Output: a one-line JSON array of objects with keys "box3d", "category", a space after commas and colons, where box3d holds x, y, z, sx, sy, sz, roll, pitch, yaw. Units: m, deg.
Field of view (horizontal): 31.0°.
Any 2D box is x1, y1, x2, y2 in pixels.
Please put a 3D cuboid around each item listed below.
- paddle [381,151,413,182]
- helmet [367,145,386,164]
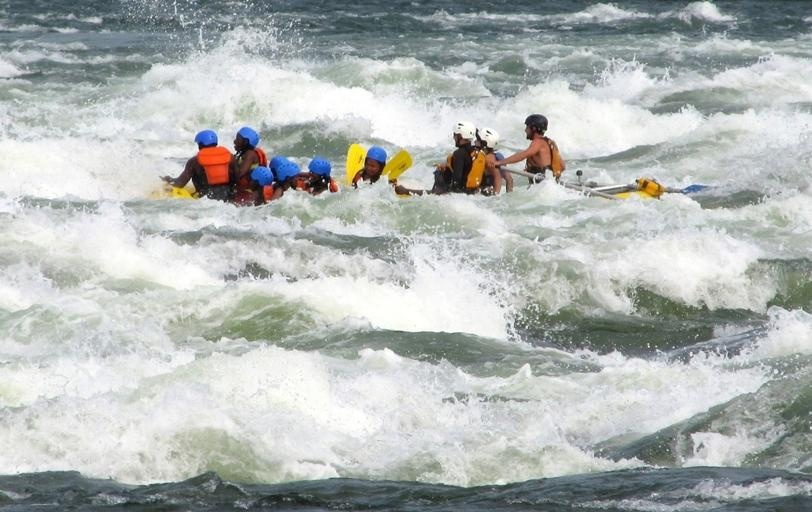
[{"box3d": [-0.196, -2.077, 33.513, 1.114, 0.379, 0.112, -30, 20, 26], "category": "paddle"}, {"box3d": [-0.654, -2.284, 33.079, 0.415, 0.445, 0.442, 0, 21, -1], "category": "helmet"}]
